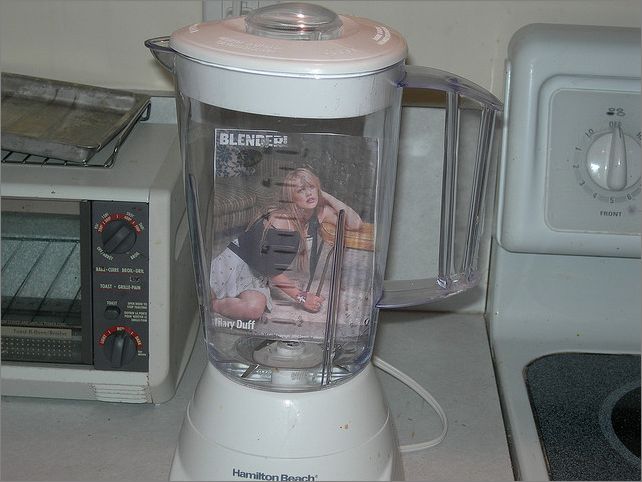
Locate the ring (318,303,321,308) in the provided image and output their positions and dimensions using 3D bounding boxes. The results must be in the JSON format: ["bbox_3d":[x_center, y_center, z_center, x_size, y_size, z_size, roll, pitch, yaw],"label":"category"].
[{"bbox_3d":[-0.002,0.080,0.736,0.004,0.006,0.001,3,5,5],"label":"ring"}]

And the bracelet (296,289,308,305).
[{"bbox_3d":[-0.024,0.068,0.732,0.011,0.017,0.005,4,5,2],"label":"bracelet"}]
